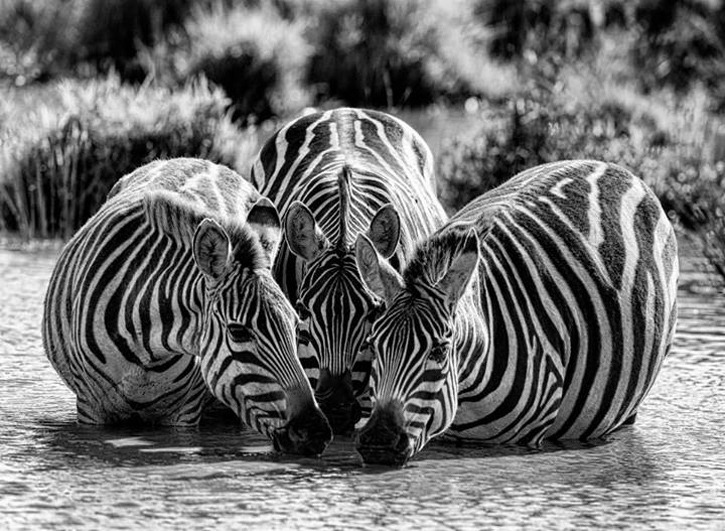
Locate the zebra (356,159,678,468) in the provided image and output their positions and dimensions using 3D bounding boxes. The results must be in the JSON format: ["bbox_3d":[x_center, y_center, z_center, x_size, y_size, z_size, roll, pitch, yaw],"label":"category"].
[{"bbox_3d":[0.919,0.322,8.051,1.188,1.449,2.607,5,14,39],"label":"zebra"}]

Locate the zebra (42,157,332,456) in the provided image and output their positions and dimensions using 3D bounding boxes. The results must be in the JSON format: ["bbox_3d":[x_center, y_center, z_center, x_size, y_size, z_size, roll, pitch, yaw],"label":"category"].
[{"bbox_3d":[-1.250,0.243,8.401,1.062,1.610,2.852,-5,11,-23],"label":"zebra"}]

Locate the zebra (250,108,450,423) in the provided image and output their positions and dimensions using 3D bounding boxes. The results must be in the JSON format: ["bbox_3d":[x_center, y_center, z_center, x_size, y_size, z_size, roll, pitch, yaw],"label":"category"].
[{"bbox_3d":[-0.124,-0.258,9.078,1.001,1.585,2.793,-1,18,4],"label":"zebra"}]
